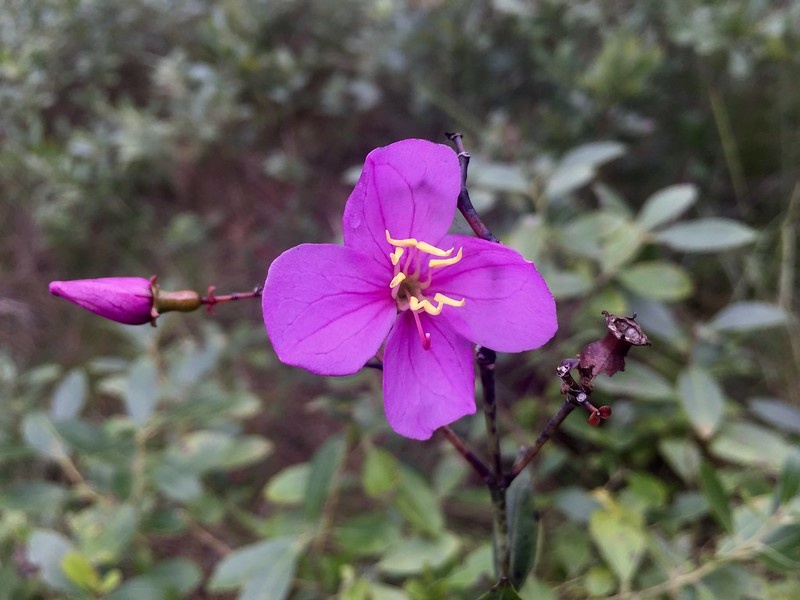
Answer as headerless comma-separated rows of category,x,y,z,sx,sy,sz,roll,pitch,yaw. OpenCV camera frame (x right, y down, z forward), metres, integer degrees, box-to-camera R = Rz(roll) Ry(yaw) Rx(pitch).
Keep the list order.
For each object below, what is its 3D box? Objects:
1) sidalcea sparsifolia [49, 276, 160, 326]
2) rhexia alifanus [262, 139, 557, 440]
sidalcea sparsifolia,-0.522,0.001,1.603,0.157,0.085,0.070,12,59,-11
rhexia alifanus,0.063,-0.046,1.599,0.196,0.461,0.536,48,63,-28
